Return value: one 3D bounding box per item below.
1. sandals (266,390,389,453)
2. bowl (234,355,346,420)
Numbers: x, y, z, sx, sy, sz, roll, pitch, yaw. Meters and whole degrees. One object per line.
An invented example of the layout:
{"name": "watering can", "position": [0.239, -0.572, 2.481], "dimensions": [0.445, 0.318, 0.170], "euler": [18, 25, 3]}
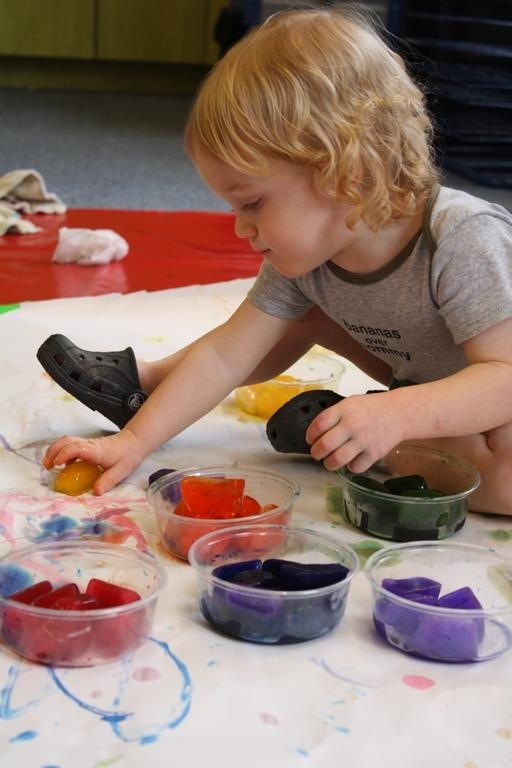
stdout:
{"name": "sandals", "position": [0.121, 0.048, 1.075], "dimensions": [0.197, 0.063, 0.074], "euler": [1, -11, -29]}
{"name": "bowl", "position": [0.045, 0.011, 1.314], "dimensions": [0.222, 0.081, 0.179], "euler": [-3, 13, -44]}
